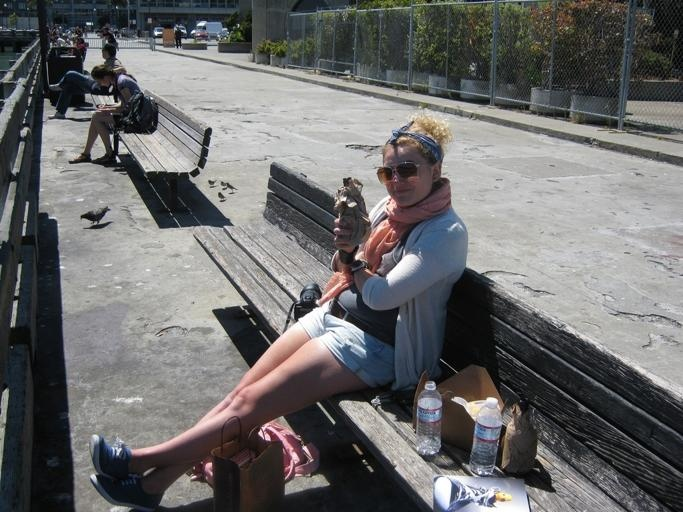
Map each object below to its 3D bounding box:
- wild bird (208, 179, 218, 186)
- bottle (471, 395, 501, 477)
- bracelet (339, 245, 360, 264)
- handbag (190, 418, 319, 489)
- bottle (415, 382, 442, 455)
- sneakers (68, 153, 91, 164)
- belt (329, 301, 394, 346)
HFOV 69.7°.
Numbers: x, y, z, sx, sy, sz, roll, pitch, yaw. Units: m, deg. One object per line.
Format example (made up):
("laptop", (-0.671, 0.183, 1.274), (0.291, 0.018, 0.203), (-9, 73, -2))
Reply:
("wild bird", (-2.205, -1.257, 8.385), (0.089, 0.127, 0.182), (-1, 12, 17))
("bottle", (0.611, 0.757, 2.072), (0.116, 0.313, 0.198), (6, 14, 20))
("bracelet", (0.041, 0.000, 2.694), (0.103, 0.089, 0.080), (-10, 28, -19))
("handbag", (-0.427, 1.143, 2.759), (0.552, 0.219, 0.398), (-6, -3, -40))
("bottle", (0.397, 0.725, 2.213), (0.121, 0.305, 0.170), (3, 13, 9))
("sneakers", (-5.063, -1.897, 9.585), (0.490, 0.216, 0.164), (-2, 4, -31))
("belt", (0.135, 0.358, 2.724), (0.211, 0.105, 0.292), (20, 1, 8))
